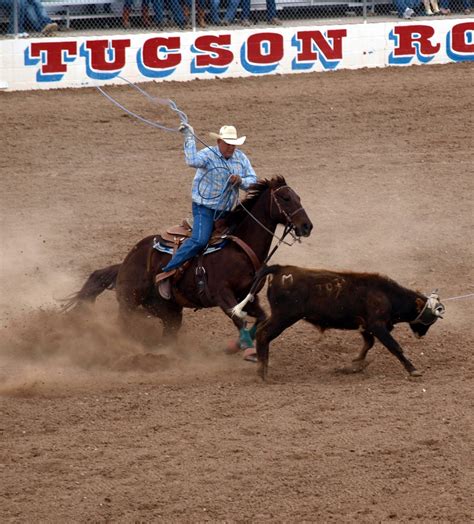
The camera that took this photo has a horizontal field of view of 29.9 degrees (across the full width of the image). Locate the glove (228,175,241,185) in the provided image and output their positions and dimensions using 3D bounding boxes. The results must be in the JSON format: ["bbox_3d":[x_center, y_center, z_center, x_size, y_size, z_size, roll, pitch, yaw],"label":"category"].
[{"bbox_3d":[-0.033,-0.869,9.262,0.113,0.098,0.092,-2,56,3],"label":"glove"}]

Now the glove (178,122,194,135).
[{"bbox_3d":[-0.557,-1.433,9.319,0.185,0.070,0.302,6,5,-18],"label":"glove"}]

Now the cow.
[{"bbox_3d":[1.121,0.606,9.098,1.865,1.094,0.530,0,17,0],"label":"cow"}]

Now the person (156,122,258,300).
[{"bbox_3d":[-0.348,-0.512,9.538,1.122,1.987,0.453,-1,17,0],"label":"person"}]

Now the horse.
[{"bbox_3d":[-0.574,0.188,10.066,3.795,1.925,0.759,-8,-7,41],"label":"horse"}]

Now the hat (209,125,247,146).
[{"bbox_3d":[-0.112,-1.335,9.318,0.341,0.231,0.461,0,15,1],"label":"hat"}]
